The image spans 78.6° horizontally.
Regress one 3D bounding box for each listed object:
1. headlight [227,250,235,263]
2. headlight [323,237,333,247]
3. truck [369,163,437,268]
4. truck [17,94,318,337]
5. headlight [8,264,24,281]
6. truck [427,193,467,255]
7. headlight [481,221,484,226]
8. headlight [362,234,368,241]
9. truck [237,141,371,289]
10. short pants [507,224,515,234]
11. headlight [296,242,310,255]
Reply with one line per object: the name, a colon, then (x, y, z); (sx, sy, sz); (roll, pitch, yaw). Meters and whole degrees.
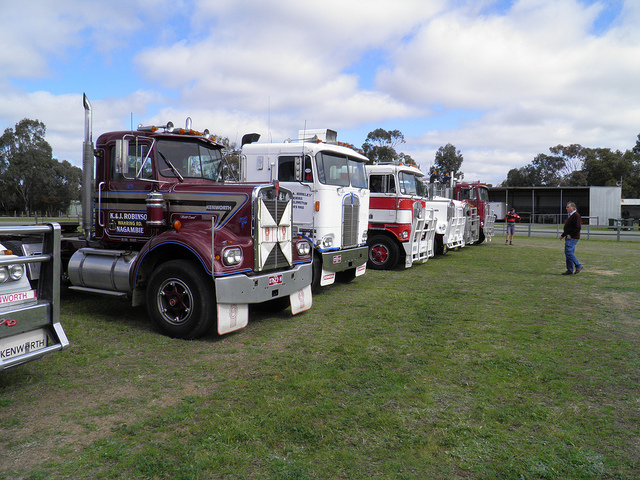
headlight: (-1.378, 0.273, 6.046); (0.103, 0.148, 0.034); (15, -12, -43)
headlight: (0.173, 0.072, 8.905); (0.069, 0.223, 0.382); (5, 9, 29)
truck: (2.580, -0.665, 12.754); (1.268, 3.433, 2.319); (7, 11, 38)
truck: (-4.384, -0.649, 8.245); (7.165, 3.853, 2.863); (4, 5, 19)
headlight: (-3.453, 0.376, 4.430); (0.135, 0.140, 0.116); (10, 10, 27)
truck: (5.614, -0.244, 17.460); (1.097, 1.279, 2.159); (8, 12, -17)
headlight: (8.999, -0.833, 21.698); (0.142, 0.148, 0.037); (6, -8, -8)
headlight: (1.183, -0.042, 10.470); (0.142, 0.160, 0.265); (18, 9, 15)
truck: (-1.146, -0.614, 10.894); (4.704, 3.698, 2.865); (4, 6, 33)
short pants: (10.920, -0.589, 22.499); (0.224, 0.448, 0.577); (7, 21, -7)
headlight: (-0.330, 0.176, 7.443); (0.176, 0.250, 0.106); (5, 1, -39)
